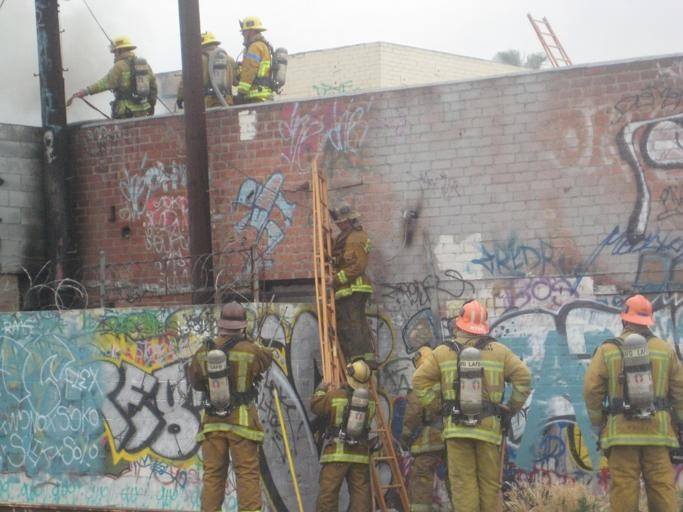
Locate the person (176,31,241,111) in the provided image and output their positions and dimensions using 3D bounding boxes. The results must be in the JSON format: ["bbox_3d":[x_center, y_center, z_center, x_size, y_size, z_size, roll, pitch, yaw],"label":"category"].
[{"bbox_3d":[-2.227,-2.555,18.630,1.018,2.289,0.729,2,-2,-32],"label":"person"}]

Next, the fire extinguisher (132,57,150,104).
[{"bbox_3d":[-3.380,-2.916,18.382,0.323,0.738,0.204,0,-3,-13],"label":"fire extinguisher"}]

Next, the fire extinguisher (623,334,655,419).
[{"bbox_3d":[3.797,1.539,14.024,0.374,1.045,0.150,-1,-3,14],"label":"fire extinguisher"}]

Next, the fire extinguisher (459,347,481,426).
[{"bbox_3d":[1.644,1.651,13.949,0.324,0.961,0.190,-1,-3,3],"label":"fire extinguisher"}]

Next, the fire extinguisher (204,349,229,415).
[{"bbox_3d":[-1.563,1.596,13.894,0.295,0.812,0.226,0,-3,-8],"label":"fire extinguisher"}]

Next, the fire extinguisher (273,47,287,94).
[{"bbox_3d":[-1.199,-3.507,20.939,0.236,0.841,0.250,0,11,2],"label":"fire extinguisher"}]

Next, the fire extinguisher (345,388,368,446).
[{"bbox_3d":[0.185,2.099,14.361,0.318,0.733,0.225,-1,-3,-5],"label":"fire extinguisher"}]

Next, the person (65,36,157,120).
[{"bbox_3d":[-3.696,-2.806,18.377,1.130,1.209,0.493,0,-3,-14],"label":"person"}]
